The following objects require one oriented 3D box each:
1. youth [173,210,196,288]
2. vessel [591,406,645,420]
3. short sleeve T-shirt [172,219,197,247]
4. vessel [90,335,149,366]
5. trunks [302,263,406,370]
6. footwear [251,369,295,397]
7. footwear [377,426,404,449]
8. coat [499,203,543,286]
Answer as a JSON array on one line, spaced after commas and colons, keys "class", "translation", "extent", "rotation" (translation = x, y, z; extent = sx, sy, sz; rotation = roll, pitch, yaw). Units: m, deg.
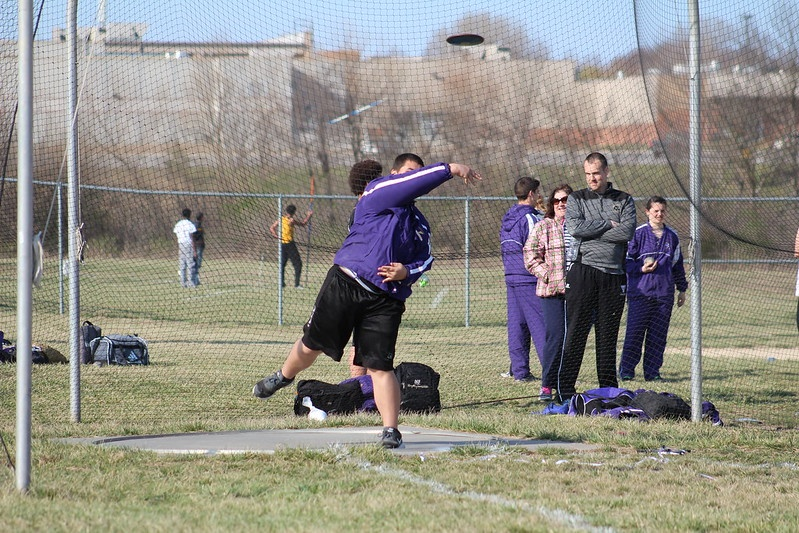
[{"class": "youth", "translation": [-4.205, -0.381, 29.681], "extent": [0.427, 1.534, 0.882], "rotation": [-3, 10, -17]}, {"class": "vessel", "translation": [2.747, 1.804, 18.445], "extent": [0.690, 0.123, 0.270], "rotation": [2, 10, 10]}, {"class": "short sleeve T-shirt", "translation": [-4.262, -0.649, 29.792], "extent": [0.519, 0.526, 0.272], "rotation": [1, -18, -5]}, {"class": "vessel", "translation": [-3.999, 1.205, 21.348], "extent": [0.810, 0.407, 0.357], "rotation": [-3, 10, -15]}, {"class": "trunks", "translation": [-0.467, 0.549, 17.403], "extent": [1.243, 1.159, 0.575], "rotation": [18, 19, 15]}, {"class": "footwear", "translation": [-1.435, 1.417, 17.759], "extent": [0.641, 0.217, 0.276], "rotation": [-21, -4, 12]}, {"class": "footwear", "translation": [-0.055, 1.961, 17.177], "extent": [0.330, 0.237, 0.177], "rotation": [-5, 10, -27]}, {"class": "coat", "translation": [1.695, -0.292, 20.194], "extent": [0.588, 1.131, 0.860], "rotation": [-8, 14, -18]}]
